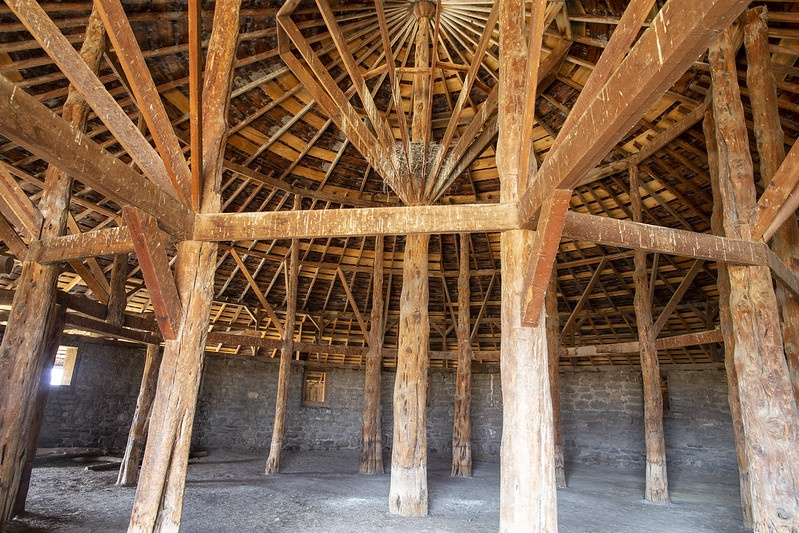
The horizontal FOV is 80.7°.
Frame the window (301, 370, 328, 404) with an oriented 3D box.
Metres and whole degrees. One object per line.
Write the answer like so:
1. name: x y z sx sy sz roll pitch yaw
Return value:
1. window: -2.874 4.130 16.075 0.863 1.188 0.117 13 -39 -19
